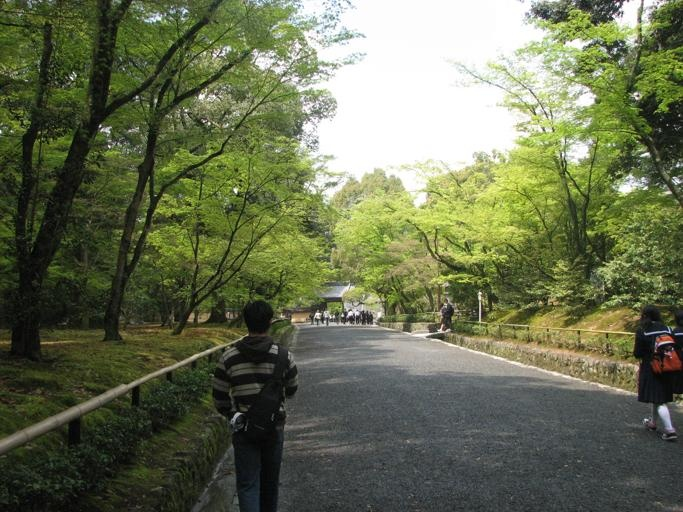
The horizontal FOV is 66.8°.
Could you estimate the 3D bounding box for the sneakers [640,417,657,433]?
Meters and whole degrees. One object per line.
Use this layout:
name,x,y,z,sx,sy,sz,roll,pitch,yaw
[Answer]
sneakers,4.700,2.595,7.939,0.106,0.116,0.274,1,1,7

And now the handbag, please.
handbag,-0.713,1.243,4.589,0.513,0.788,0.146,-1,-1,-11

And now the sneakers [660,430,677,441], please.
sneakers,4.652,2.567,7.351,0.232,0.126,0.212,-1,-2,14
